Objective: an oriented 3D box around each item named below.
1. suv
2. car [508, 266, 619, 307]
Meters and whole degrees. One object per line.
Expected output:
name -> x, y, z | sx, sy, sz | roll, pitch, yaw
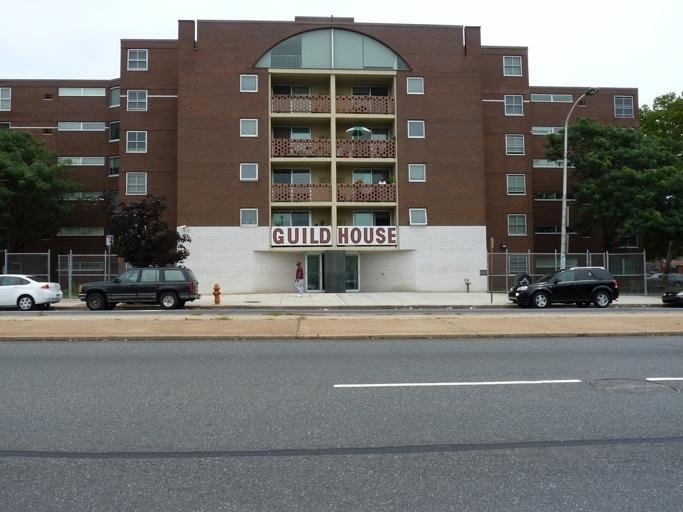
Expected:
suv -> -8.023, 1.384, 34.888 | 4.029, 1.382, 1.894 | 1, -7, -4
car -> 9.269, 1.282, 36.101 | 3.782, 1.474, 1.798 | 2, -7, 2
